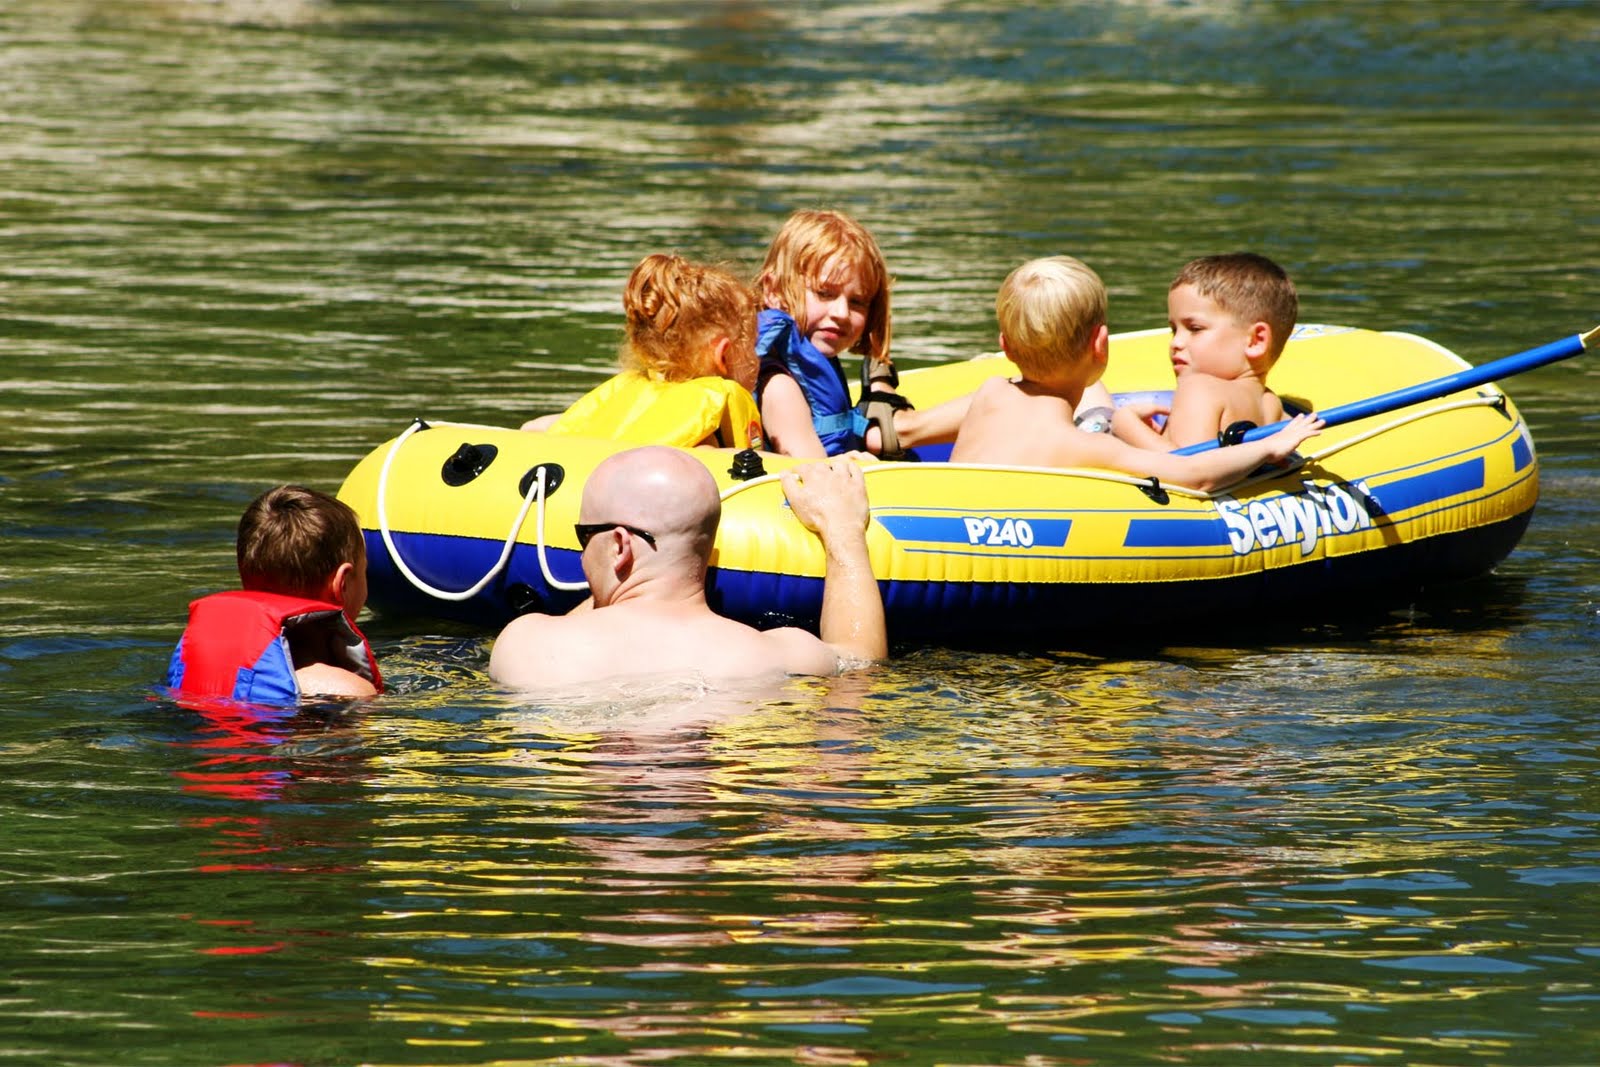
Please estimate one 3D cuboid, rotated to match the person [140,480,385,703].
[{"bbox_3d":[-2.003,0.230,9.627,1.080,0.646,0.687,9,9,28],"label":"person"}]
